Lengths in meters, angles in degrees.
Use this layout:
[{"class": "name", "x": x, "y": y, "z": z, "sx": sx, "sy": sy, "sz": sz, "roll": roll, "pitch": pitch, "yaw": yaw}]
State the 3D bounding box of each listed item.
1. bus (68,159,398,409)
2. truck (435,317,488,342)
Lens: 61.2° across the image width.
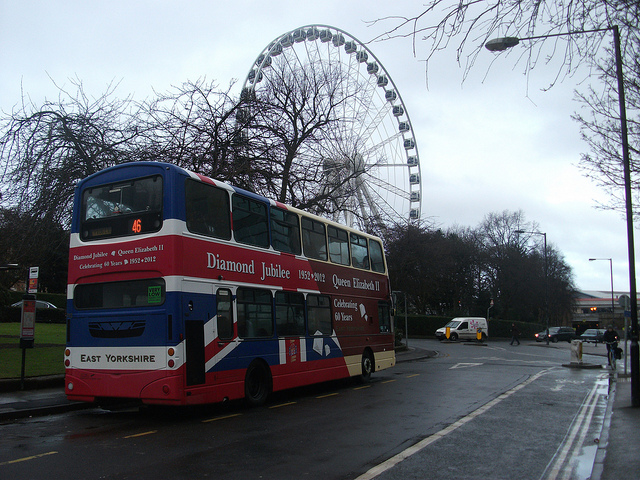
[{"class": "bus", "x": -1.585, "y": 1.875, "z": 17.389, "sx": 3.510, "sy": 5.619, "sz": 12.554, "roll": -6, "pitch": -10, "yaw": 27}, {"class": "truck", "x": 13.312, "y": 8.294, "z": 51.018, "sx": 3.713, "sy": 1.998, "sz": 2.386, "roll": 5, "pitch": -10, "yaw": -22}]
